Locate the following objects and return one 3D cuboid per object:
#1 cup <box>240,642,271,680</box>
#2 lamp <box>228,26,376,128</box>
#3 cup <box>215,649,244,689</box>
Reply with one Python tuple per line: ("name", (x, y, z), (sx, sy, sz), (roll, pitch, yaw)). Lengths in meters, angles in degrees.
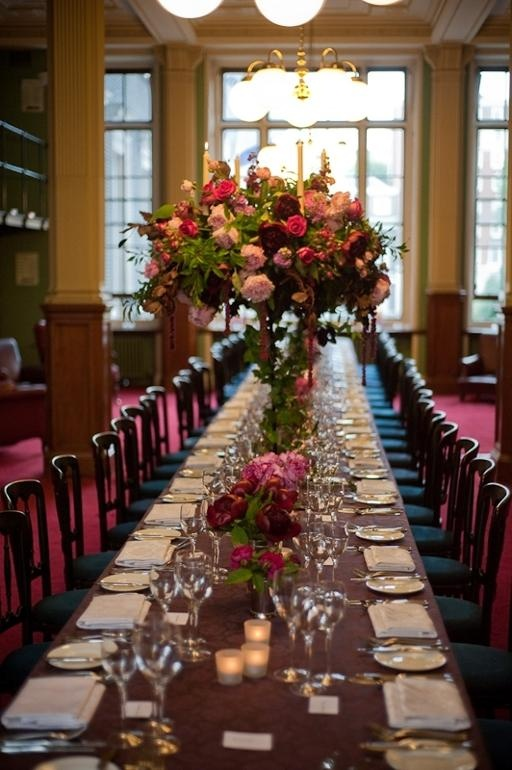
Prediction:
("cup", (-0.003, 0.564, 1.273), (0.059, 0.061, 0.055), (2, -4, 0))
("lamp", (0.328, -2.141, 4.508), (1.023, 0.354, 0.488), (0, 1, -7))
("cup", (-0.055, 0.564, 1.246), (0.058, 0.062, 0.057), (2, -4, 0))
